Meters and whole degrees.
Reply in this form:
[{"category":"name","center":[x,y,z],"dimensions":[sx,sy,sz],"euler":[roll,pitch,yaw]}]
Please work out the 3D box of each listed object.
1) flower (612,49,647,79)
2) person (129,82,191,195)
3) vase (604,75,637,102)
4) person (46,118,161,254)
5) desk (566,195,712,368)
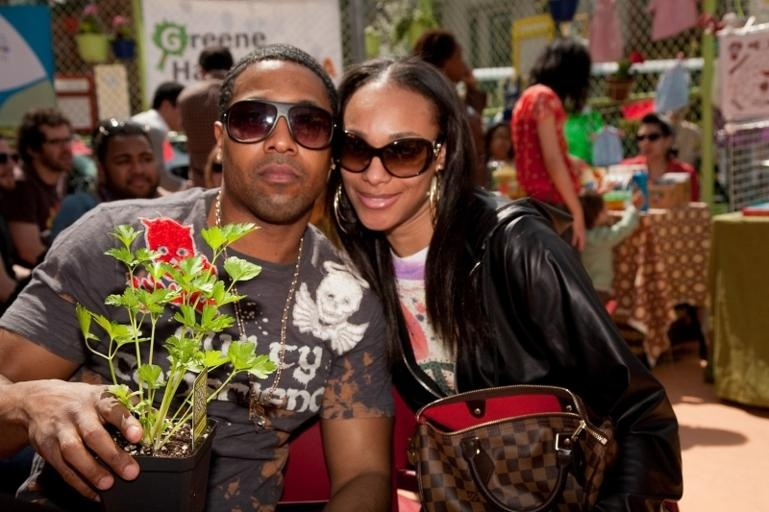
[{"category":"flower","center":[2.081,-1.603,5.775],"dimensions":[0.224,0.156,0.253],"euler":[-30,24,17]},{"category":"person","center":[-2.037,-1.060,6.207],"dimensions":[0.543,0.599,1.480],"euler":[-25,9,-21]},{"category":"vase","center":[2.020,-1.427,5.811],"dimensions":[0.209,0.168,0.213],"euler":[8,15,38]},{"category":"person","center":[-2.179,-0.616,5.515],"dimensions":[0.690,0.975,1.053],"euler":[14,21,32]},{"category":"desk","center":[2.359,0.147,6.326],"dimensions":[1.247,1.536,1.187],"euler":[5,11,39]}]
